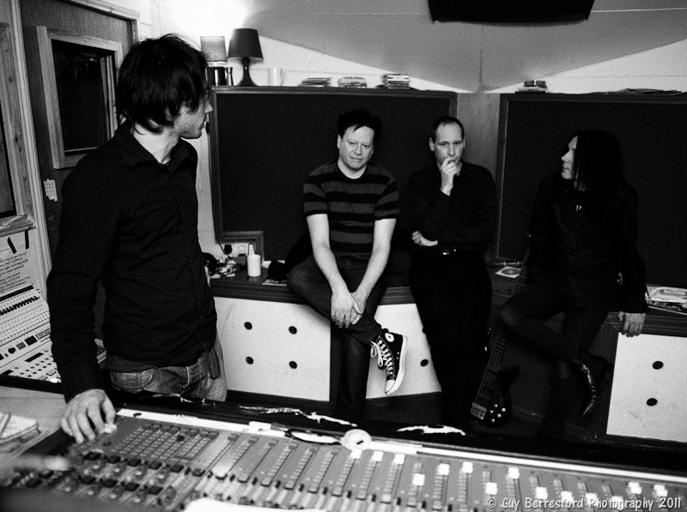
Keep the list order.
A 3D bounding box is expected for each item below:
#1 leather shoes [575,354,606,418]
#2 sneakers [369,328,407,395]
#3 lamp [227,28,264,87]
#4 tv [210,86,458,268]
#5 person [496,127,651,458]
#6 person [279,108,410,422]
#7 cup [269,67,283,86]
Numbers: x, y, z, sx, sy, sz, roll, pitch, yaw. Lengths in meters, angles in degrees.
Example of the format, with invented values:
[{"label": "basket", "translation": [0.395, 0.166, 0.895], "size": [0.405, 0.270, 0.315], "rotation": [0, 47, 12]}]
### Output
[{"label": "leather shoes", "translation": [1.317, 0.671, 3.023], "size": [0.184, 0.300, 0.110], "rotation": [-12, 19, -38]}, {"label": "sneakers", "translation": [0.247, 0.568, 3.116], "size": [0.189, 0.347, 0.151], "rotation": [3, 15, 7]}, {"label": "lamp", "translation": [-0.719, -1.464, 4.244], "size": [0.256, 0.387, 0.256], "rotation": [10, 18, 33]}, {"label": "tv", "translation": [-0.028, -0.526, 3.532], "size": [1.192, 0.875, 0.109], "rotation": [1, 3, -3]}, {"label": "person", "translation": [1.253, 0.054, 3.151], "size": [0.743, 1.427, 0.692], "rotation": [2, 15, 6]}, {"label": "person", "translation": [0.030, 0.023, 3.195], "size": [0.665, 1.630, 0.677], "rotation": [-1, 15, -6]}, {"label": "cup", "translation": [-0.493, -1.329, 4.238], "size": [0.117, 0.121, 0.214], "rotation": [-1, 15, -7]}]
